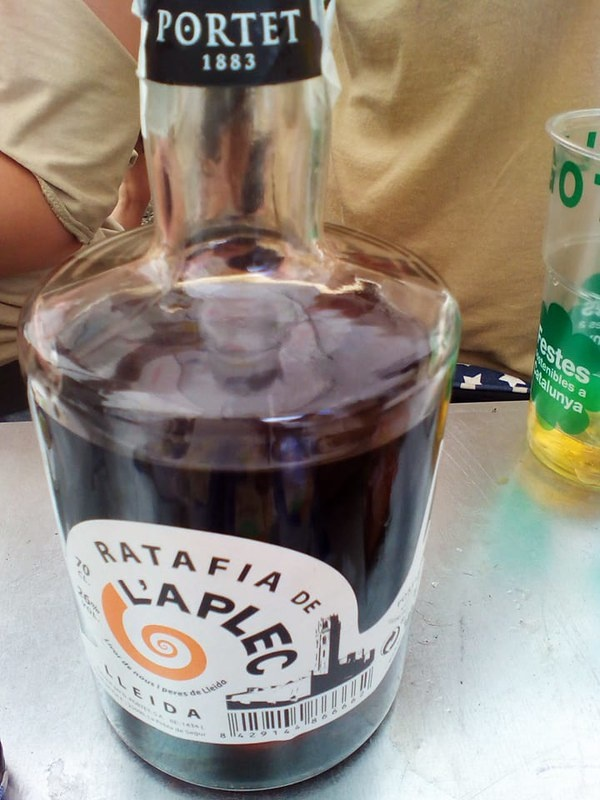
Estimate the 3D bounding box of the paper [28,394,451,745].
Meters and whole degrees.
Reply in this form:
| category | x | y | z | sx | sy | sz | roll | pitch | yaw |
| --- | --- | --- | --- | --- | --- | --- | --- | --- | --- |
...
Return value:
| category | x | y | z | sx | sy | sz | roll | pitch | yaw |
| --- | --- | --- | --- | --- | --- | --- | --- | --- | --- |
| paper | -0.029 | 0.044 | 0.387 | 0.155 | 0.167 | 0.147 | 26 | 46 | 23 |

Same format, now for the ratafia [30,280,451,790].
| category | x | y | z | sx | sy | sz | roll | pitch | yaw |
| --- | --- | --- | --- | --- | --- | --- | --- | --- | --- |
| ratafia | -0.016 | 0.014 | 0.461 | 0.199 | 0.322 | 0.198 | 16 | 34 | 22 |
